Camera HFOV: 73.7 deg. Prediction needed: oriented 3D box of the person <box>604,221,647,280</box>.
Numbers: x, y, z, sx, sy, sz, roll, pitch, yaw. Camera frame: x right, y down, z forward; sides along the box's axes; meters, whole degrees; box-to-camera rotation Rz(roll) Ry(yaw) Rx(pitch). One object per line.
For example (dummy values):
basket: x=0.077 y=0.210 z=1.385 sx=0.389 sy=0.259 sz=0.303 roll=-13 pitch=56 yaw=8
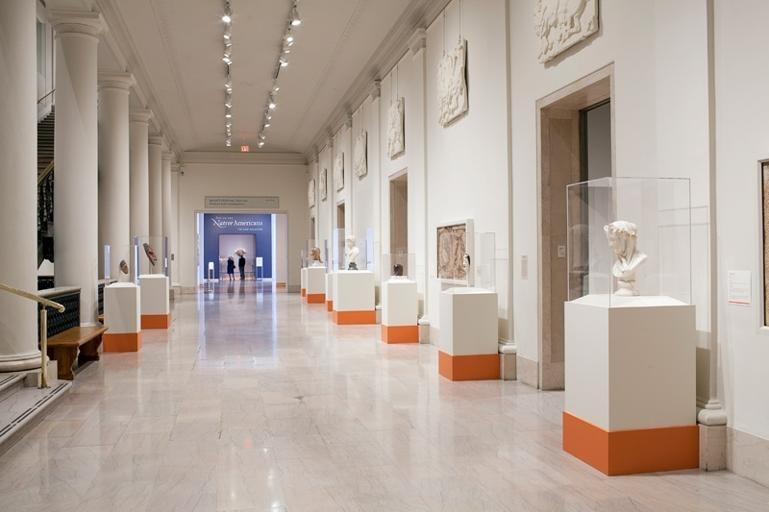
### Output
person: x=2.817 y=-0.044 z=6.029 sx=0.431 sy=0.725 sz=0.429 roll=0 pitch=-3 yaw=5

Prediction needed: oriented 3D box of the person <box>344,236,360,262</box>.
person: x=-1.074 y=-0.213 z=16.944 sx=0.488 sy=0.841 sz=0.277 roll=0 pitch=1 yaw=0

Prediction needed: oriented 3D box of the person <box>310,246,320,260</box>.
person: x=-3.258 y=-0.068 z=23.981 sx=0.504 sy=0.762 sz=0.502 roll=3 pitch=1 yaw=13

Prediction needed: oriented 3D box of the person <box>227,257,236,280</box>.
person: x=-12.762 y=1.012 z=42.251 sx=0.602 sy=1.941 sz=1.489 roll=-1 pitch=2 yaw=-20
